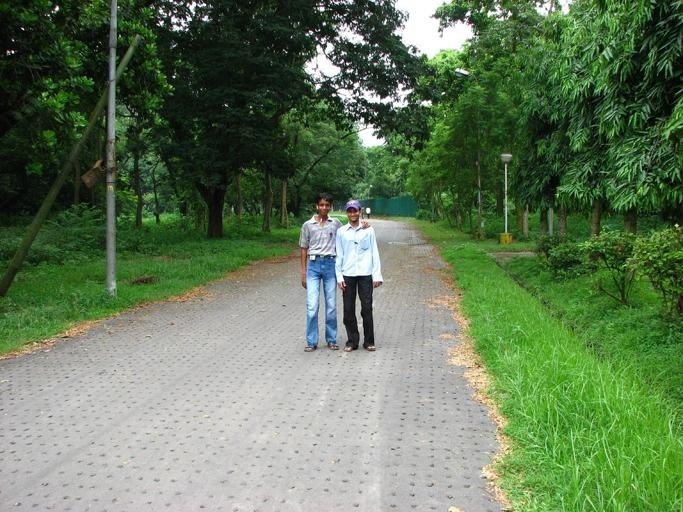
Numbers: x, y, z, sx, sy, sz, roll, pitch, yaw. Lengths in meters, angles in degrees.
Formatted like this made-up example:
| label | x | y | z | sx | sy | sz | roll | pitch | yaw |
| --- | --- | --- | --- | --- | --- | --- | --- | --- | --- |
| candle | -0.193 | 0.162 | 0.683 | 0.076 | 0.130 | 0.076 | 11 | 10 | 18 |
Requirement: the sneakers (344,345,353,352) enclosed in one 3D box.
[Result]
| label | x | y | z | sx | sy | sz | roll | pitch | yaw |
| --- | --- | --- | --- | --- | --- | --- | --- | --- | --- |
| sneakers | 0.106 | 1.368 | 8.832 | 0.138 | 0.080 | 0.116 | 0 | 3 | -1 |

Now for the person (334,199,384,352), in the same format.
| label | x | y | z | sx | sy | sz | roll | pitch | yaw |
| --- | --- | --- | --- | --- | --- | --- | --- | --- | --- |
| person | 0.253 | 0.277 | 9.089 | 0.679 | 2.227 | 0.752 | 0 | 3 | 3 |

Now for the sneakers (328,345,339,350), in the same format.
| label | x | y | z | sx | sy | sz | roll | pitch | yaw |
| --- | --- | --- | --- | --- | --- | --- | --- | --- | --- |
| sneakers | -0.121 | 1.363 | 8.932 | 0.159 | 0.068 | 0.178 | 0 | 3 | -2 |
